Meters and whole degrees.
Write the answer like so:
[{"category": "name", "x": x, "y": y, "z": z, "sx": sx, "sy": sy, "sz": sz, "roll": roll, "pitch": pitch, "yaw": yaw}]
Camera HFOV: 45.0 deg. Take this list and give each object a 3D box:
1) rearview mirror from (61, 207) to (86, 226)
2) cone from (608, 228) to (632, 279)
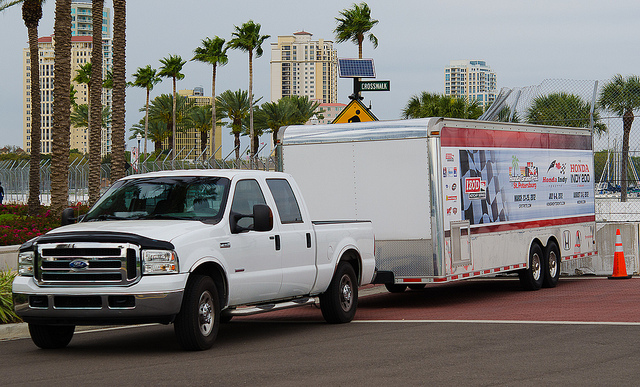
[{"category": "rearview mirror", "x": -4.839, "y": 0.472, "z": 15.159, "sx": 0.340, "sy": 0.281, "sz": 0.324, "roll": 2, "pitch": -4, "yaw": -7}, {"category": "cone", "x": 9.133, "y": 1.858, "z": 23.664, "sx": 0.700, "sy": 1.519, "sz": 0.548, "roll": -3, "pitch": 2, "yaw": 0}]
